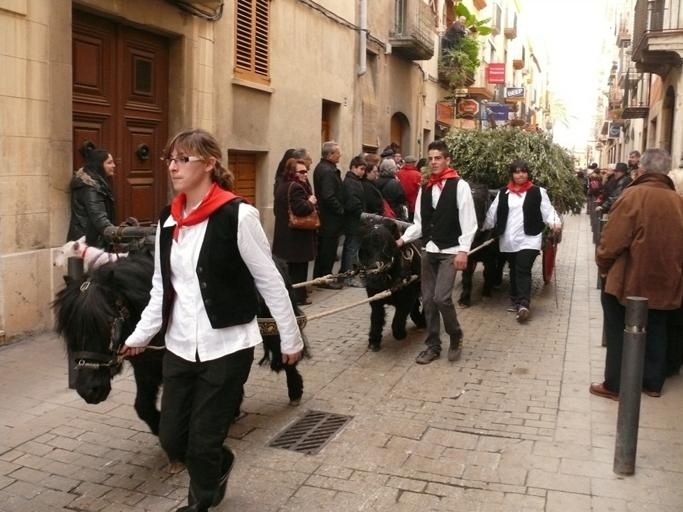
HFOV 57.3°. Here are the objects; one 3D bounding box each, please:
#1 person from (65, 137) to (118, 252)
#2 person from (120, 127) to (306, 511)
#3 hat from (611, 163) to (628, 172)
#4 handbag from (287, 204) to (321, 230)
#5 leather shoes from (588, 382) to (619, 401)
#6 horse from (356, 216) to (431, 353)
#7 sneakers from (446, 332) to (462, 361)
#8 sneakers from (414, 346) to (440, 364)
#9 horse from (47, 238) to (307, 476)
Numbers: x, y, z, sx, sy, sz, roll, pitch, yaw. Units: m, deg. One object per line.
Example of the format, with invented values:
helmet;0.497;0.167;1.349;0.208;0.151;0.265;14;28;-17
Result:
person;-2.965;-0.713;7.338;0.604;1.715;0.983;-5;24;-24
person;-0.791;0.391;3.813;1.014;2.287;0.616;-1;11;-7
hat;6.512;-2.081;14.599;0.315;0.242;0.232;8;14;26
handbag;-0.590;-0.594;9.429;0.406;0.403;0.140;-2;4;-26
leather shoes;2.561;1.319;6.082;0.218;0.108;0.107;15;9;37
horse;0.718;0.336;7.858;0.657;1.534;2.606;-1;-2;18
sneakers;1.297;1.013;7.067;0.117;0.150;0.357;-1;41;28
sneakers;0.974;1.119;7.065;0.128;0.152;0.338;0;-1;41
horse;-1.095;0.699;4.782;0.619;1.298;2.120;-16;-8;31
